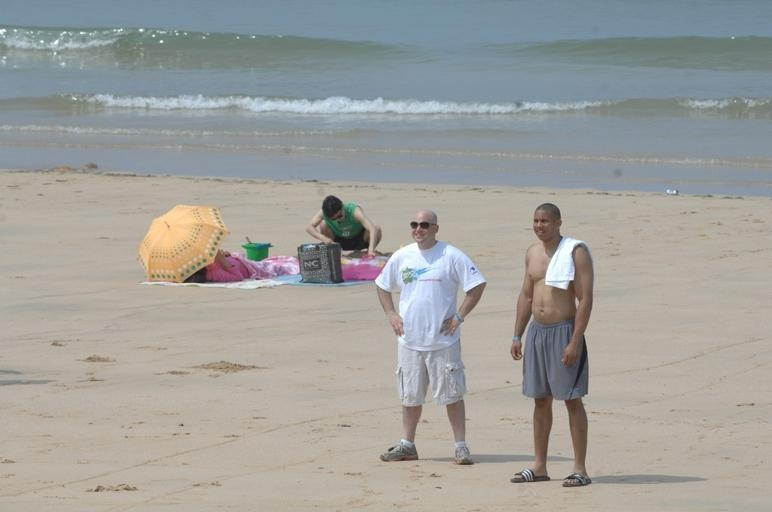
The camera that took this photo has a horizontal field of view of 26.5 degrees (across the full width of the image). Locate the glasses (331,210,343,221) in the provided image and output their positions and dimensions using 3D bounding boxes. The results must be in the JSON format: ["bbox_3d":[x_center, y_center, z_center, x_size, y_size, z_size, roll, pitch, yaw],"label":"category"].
[{"bbox_3d":[-1.176,-1.022,39.531,0.247,0.224,0.083,-33,-10,30],"label":"glasses"}]

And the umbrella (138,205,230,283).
[{"bbox_3d":[-4.827,-0.349,38.645,2.228,1.734,1.019,-11,-22,28],"label":"umbrella"}]

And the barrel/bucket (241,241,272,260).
[{"bbox_3d":[-3.183,-0.134,39.869,0.549,0.379,0.674,1,5,37],"label":"barrel/bucket"}]

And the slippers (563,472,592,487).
[{"bbox_3d":[3.941,4.702,33.978,0.610,0.269,0.124,0,7,2],"label":"slippers"}]
